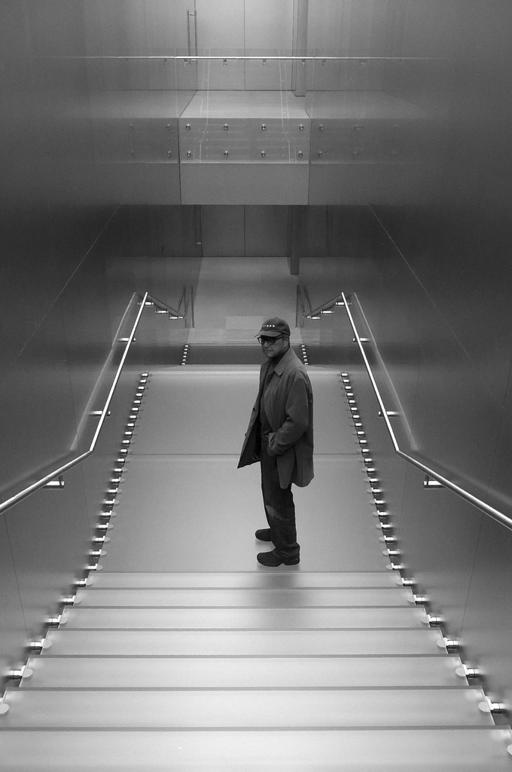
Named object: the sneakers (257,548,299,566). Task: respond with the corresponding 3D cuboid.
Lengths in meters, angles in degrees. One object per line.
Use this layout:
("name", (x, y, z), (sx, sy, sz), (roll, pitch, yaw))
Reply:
("sneakers", (0.156, 1.242, 3.972), (0.231, 0.138, 0.111), (3, -77, -1))

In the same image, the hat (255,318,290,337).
("hat", (0.118, -0.385, 3.591), (0.178, 0.125, 0.111), (-7, -77, -46))
